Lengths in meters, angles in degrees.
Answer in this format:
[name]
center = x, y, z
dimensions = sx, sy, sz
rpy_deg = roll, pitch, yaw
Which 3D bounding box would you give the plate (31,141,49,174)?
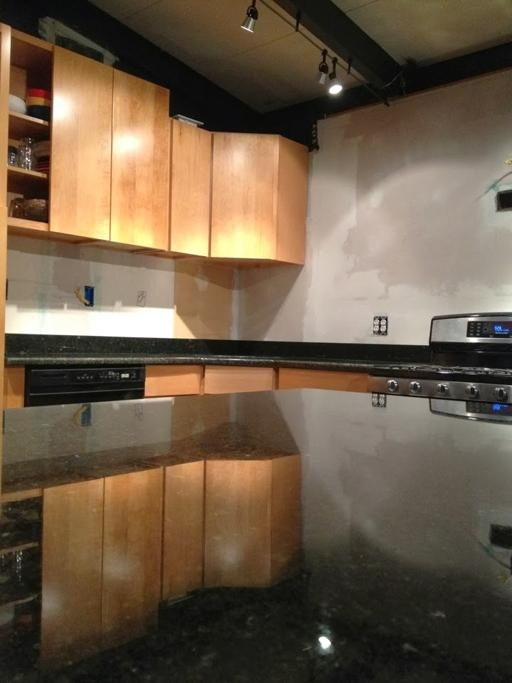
[plate]
center = -1.108, -0.954, 2.795
dimensions = 0.099, 0.169, 0.051
rpy_deg = 2, -1, 25

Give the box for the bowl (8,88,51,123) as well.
[bowl]
center = -1.139, -1.206, 2.729
dimensions = 0.229, 0.166, 0.163
rpy_deg = 3, 10, 4

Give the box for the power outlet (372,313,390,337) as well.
[power outlet]
center = 0.842, -0.113, 3.666
dimensions = 0.019, 0.203, 0.151
rpy_deg = -1, 4, -45

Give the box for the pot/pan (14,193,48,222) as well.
[pot/pan]
center = -1.185, -0.702, 2.817
dimensions = 0.183, 0.162, 0.125
rpy_deg = 2, 10, 0

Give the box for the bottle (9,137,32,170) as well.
[bottle]
center = -1.186, -0.955, 2.738
dimensions = 0.110, 0.167, 0.155
rpy_deg = 3, -1, -18
